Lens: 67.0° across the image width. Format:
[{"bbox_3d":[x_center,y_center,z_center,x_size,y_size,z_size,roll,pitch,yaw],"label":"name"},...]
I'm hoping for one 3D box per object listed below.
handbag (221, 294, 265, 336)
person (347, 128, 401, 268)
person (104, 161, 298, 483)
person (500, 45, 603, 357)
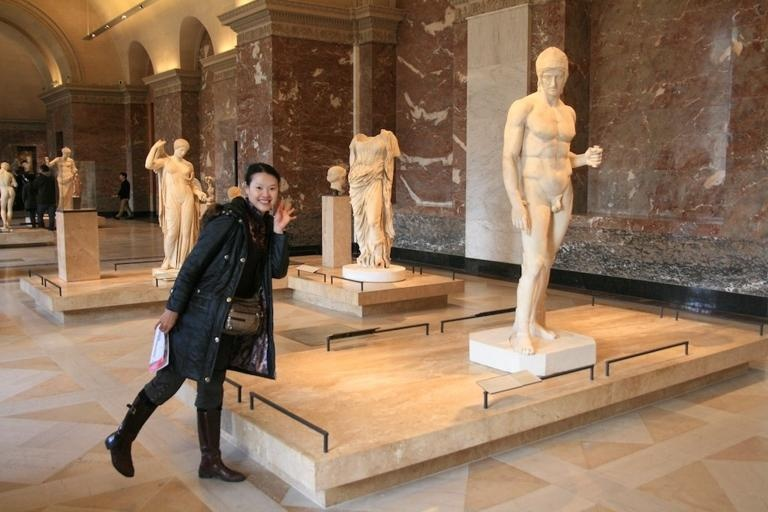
[{"bbox_3d":[-1.097,0.466,4.536,0.257,0.127,0.305,26,24,-30],"label":"handbag"},{"bbox_3d":[-0.174,-0.943,9.629,0.809,2.228,0.582,0,13,-1],"label":"person"},{"bbox_3d":[-1.374,0.549,4.589,1.416,2.512,0.576,-3,14,-15],"label":"person"},{"bbox_3d":[1.570,-0.579,5.833,0.893,2.908,0.664,-6,14,-24],"label":"person"}]
